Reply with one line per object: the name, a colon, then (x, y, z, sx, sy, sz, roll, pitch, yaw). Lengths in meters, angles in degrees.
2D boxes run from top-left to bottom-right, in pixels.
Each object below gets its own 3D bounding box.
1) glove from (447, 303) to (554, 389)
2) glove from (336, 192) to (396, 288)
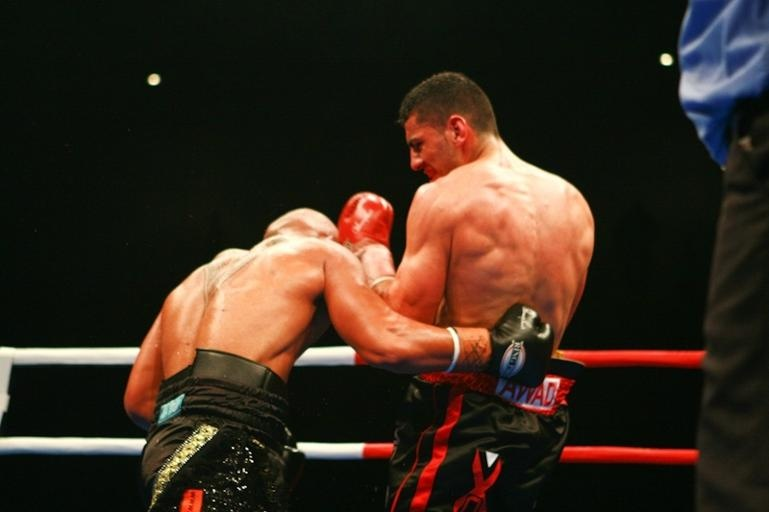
glove: (0.680, 0.452, 4.189, 0.306, 0.415, 0.204, 2, -9, 10)
glove: (-0.088, -0.120, 4.553, 0.282, 0.543, 0.266, -21, -34, 8)
